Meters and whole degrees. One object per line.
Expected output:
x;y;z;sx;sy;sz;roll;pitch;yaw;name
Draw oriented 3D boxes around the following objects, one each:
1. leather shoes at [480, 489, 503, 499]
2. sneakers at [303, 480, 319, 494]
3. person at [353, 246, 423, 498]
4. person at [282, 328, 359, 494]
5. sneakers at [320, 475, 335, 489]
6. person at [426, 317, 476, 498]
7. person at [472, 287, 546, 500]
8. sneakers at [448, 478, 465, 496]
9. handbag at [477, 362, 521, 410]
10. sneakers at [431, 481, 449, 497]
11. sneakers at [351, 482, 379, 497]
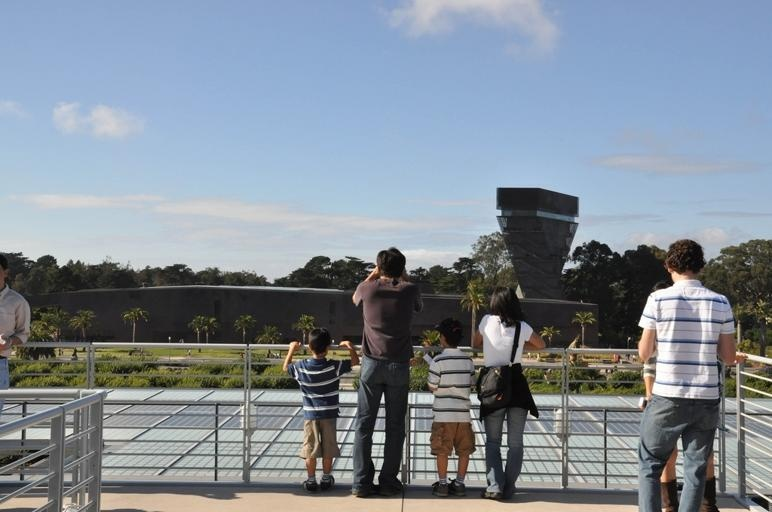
1.175;2.654;7.382;0.086;0.097;0.227;4;0;-32;leather shoes
-0.857;2.590;7.564;0.173;0.107;0.134;2;-1;-9;sneakers
-0.037;1.302;7.503;0.741;2.789;0.494;1;-1;15;person
-0.762;1.786;7.709;0.796;1.876;0.645;2;-1;-17;person
-0.673;2.580;7.659;0.224;0.107;0.165;2;-1;-29;sneakers
0.722;1.706;7.597;0.567;1.981;0.435;1;-1;8;person
1.352;1.532;7.489;0.746;2.340;0.491;1;-1;12;person
0.799;2.603;7.495;0.199;0.173;0.144;1;-1;3;sneakers
1.220;1.468;7.369;0.428;0.537;0.202;1;-1;7;handbag
0.609;2.616;7.481;0.178;0.160;0.091;1;-1;4;sneakers
-0.238;2.621;7.454;0.298;0.141;0.110;1;-1;-5;sneakers
